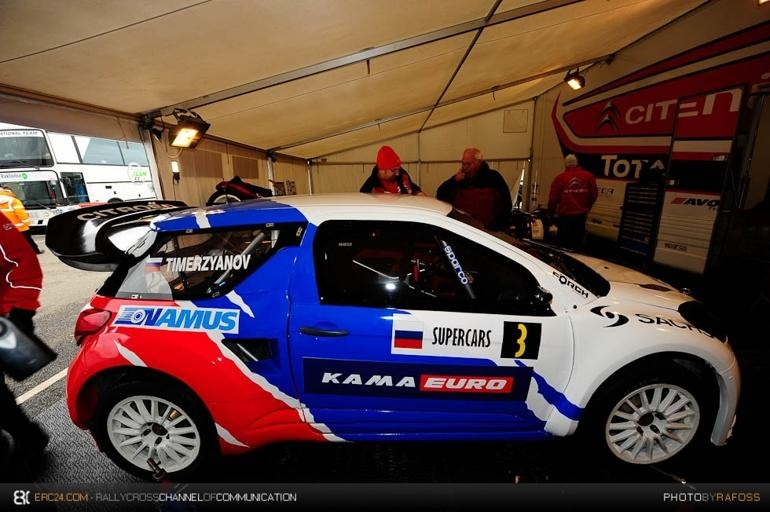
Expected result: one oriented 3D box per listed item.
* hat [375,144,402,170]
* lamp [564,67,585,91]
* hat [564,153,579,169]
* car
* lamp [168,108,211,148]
[{"bbox_3d":[0.046,-1.329,6.248,0.308,0.320,0.538,1,12,-2],"label":"hat"},{"bbox_3d":[3.716,-3.455,8.883,0.347,0.445,0.587,5,13,15],"label":"lamp"},{"bbox_3d":[3.052,-1.540,7.437,0.169,0.207,0.258,5,13,15],"label":"hat"},{"bbox_3d":[-0.049,0.632,4.752,6.262,1.962,2.541,-2,18,1],"label":"car"},{"bbox_3d":[-2.962,-1.874,6.761,0.456,0.544,0.464,9,15,32],"label":"lamp"}]
